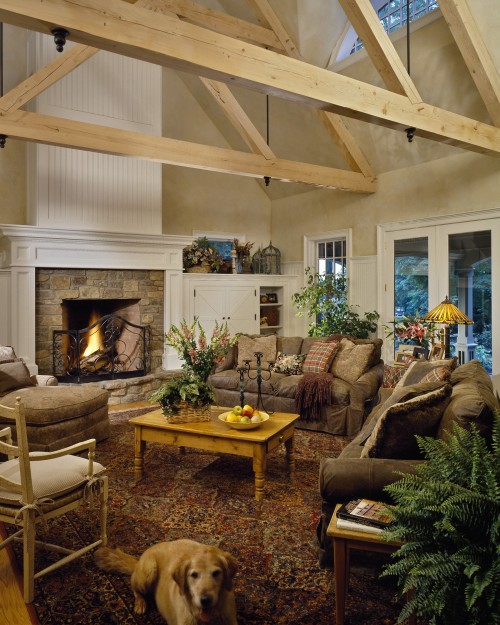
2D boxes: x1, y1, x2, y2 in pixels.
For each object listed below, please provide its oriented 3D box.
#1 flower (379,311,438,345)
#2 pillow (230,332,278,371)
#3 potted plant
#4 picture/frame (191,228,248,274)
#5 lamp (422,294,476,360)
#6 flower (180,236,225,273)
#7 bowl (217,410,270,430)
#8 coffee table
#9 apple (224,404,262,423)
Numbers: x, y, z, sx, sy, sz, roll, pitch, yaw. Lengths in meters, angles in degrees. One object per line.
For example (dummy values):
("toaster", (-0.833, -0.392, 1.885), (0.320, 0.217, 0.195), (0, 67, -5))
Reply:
("flower", (1.498, 0.163, 4.838), (0.490, 0.264, 0.477), (2, -3, -30))
("pillow", (0.049, 0.423, 5.312), (0.517, 0.178, 0.487), (1, 45, 3))
("potted plant", (-0.424, 0.587, 3.586), (0.354, 0.242, 0.347), (0, 3, 13))
("picture/frame", (-0.480, -0.909, 7.739), (0.876, 0.575, 0.067), (2, -8, -36))
("lamp", (1.772, 0.132, 4.677), (0.354, 0.505, 1.117), (-1, 1, 19))
("flower", (-0.687, -0.814, 7.267), (0.557, 0.484, 0.141), (2, -19, -28))
("bowl", (-0.041, 0.718, 3.453), (0.324, 0.116, 0.301), (-1, 1, 0))
("coffee table", (-0.262, 0.949, 3.621), (1.040, 0.441, 0.648), (-1, 1, 22))
("apple", (-0.073, 0.679, 3.433), (0.144, 0.067, 0.146), (0, -4, -18))
